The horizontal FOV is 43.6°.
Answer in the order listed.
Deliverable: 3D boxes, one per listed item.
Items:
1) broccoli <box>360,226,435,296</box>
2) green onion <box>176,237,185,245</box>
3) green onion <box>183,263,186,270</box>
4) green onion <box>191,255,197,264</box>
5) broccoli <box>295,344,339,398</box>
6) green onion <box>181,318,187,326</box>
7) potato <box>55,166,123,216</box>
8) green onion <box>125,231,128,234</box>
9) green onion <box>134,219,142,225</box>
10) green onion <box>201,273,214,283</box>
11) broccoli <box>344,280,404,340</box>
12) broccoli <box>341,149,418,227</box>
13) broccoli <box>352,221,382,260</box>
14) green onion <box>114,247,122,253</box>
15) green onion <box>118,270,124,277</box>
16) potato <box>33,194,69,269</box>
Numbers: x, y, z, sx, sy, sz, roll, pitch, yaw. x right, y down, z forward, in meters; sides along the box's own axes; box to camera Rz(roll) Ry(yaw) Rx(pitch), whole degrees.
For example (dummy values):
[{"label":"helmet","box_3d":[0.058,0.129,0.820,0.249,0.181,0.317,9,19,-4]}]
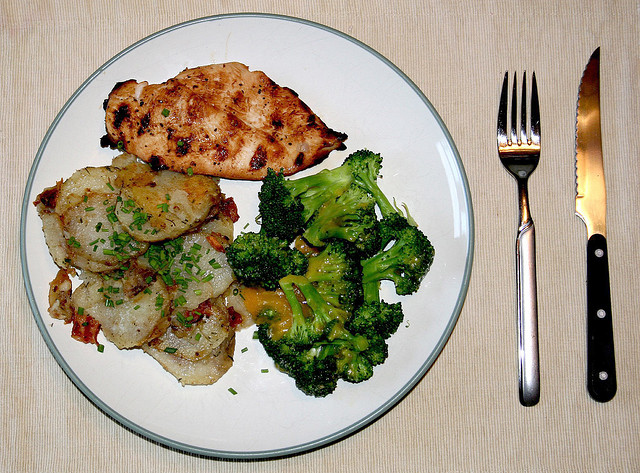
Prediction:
[{"label":"broccoli","box_3d":[0.492,0.178,5.077,0.400,0.398,0.204,-24,-2,9]},{"label":"green onion","box_3d":[-0.894,0.031,5.089,0.035,0.040,0.010,-23,1,-23]},{"label":"green onion","box_3d":[-0.858,0.191,5.067,0.020,0.040,0.011,-5,1,23]},{"label":"green onion","box_3d":[-0.801,0.146,5.071,0.015,0.069,0.012,-19,-2,-9]},{"label":"broccoli","box_3d":[-0.010,0.881,5.101,0.224,0.359,0.139,23,-12,-1]},{"label":"green onion","box_3d":[-0.860,0.544,5.062,0.030,0.048,0.017,-6,1,3]},{"label":"potato","box_3d":[-1.481,-0.324,5.113,0.324,0.313,0.088,0,-18,-1]},{"label":"green onion","box_3d":[-1.219,-0.023,5.033,0.012,0.017,0.031,-7,2,-32]},{"label":"green onion","box_3d":[-1.140,-0.089,4.994,0.043,0.031,0.010,-6,1,16]},{"label":"green onion","box_3d":[-0.714,0.262,5.055,0.085,0.042,0.037,-40,-1,3]},{"label":"broccoli","box_3d":[0.349,0.507,5.144,0.270,0.234,0.402,-2,28,1]},{"label":"broccoli","box_3d":[0.387,-0.303,5.197,0.300,0.520,0.228,-25,-13,-44]},{"label":"broccoli","box_3d":[0.273,0.000,5.138,0.186,0.092,0.255,16,44,14]},{"label":"green onion","box_3d":[-1.273,0.085,5.034,0.028,0.033,0.008,3,-5,-9]},{"label":"green onion","box_3d":[-1.262,0.235,5.087,0.030,0.036,0.008,4,-11,-17]},{"label":"potato","box_3d":[-1.726,-0.037,5.140,0.082,0.560,0.179,-37,-37,26]}]
